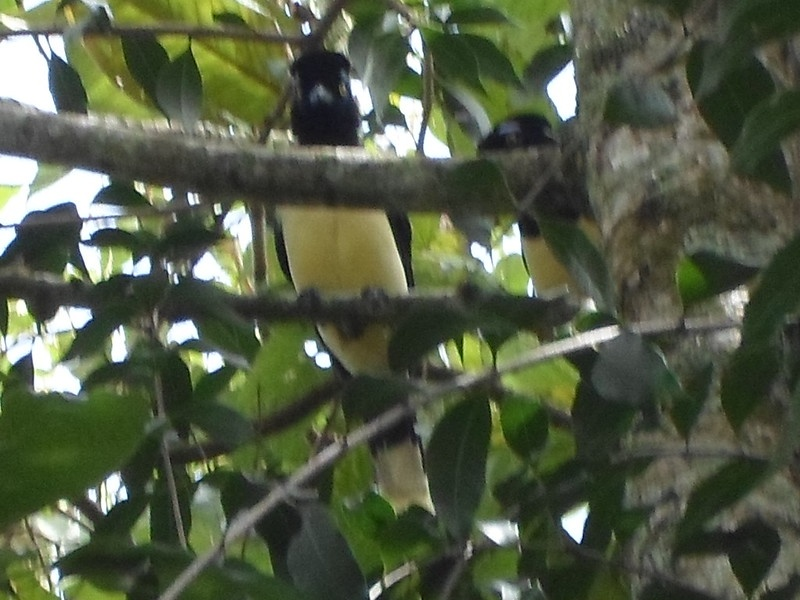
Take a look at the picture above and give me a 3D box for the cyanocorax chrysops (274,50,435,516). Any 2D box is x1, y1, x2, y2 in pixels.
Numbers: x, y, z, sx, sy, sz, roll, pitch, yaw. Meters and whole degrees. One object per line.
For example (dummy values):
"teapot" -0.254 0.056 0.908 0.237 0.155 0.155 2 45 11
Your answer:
"cyanocorax chrysops" -0.047 -0.049 1.069 0.116 0.180 0.452 -6 -87 4
